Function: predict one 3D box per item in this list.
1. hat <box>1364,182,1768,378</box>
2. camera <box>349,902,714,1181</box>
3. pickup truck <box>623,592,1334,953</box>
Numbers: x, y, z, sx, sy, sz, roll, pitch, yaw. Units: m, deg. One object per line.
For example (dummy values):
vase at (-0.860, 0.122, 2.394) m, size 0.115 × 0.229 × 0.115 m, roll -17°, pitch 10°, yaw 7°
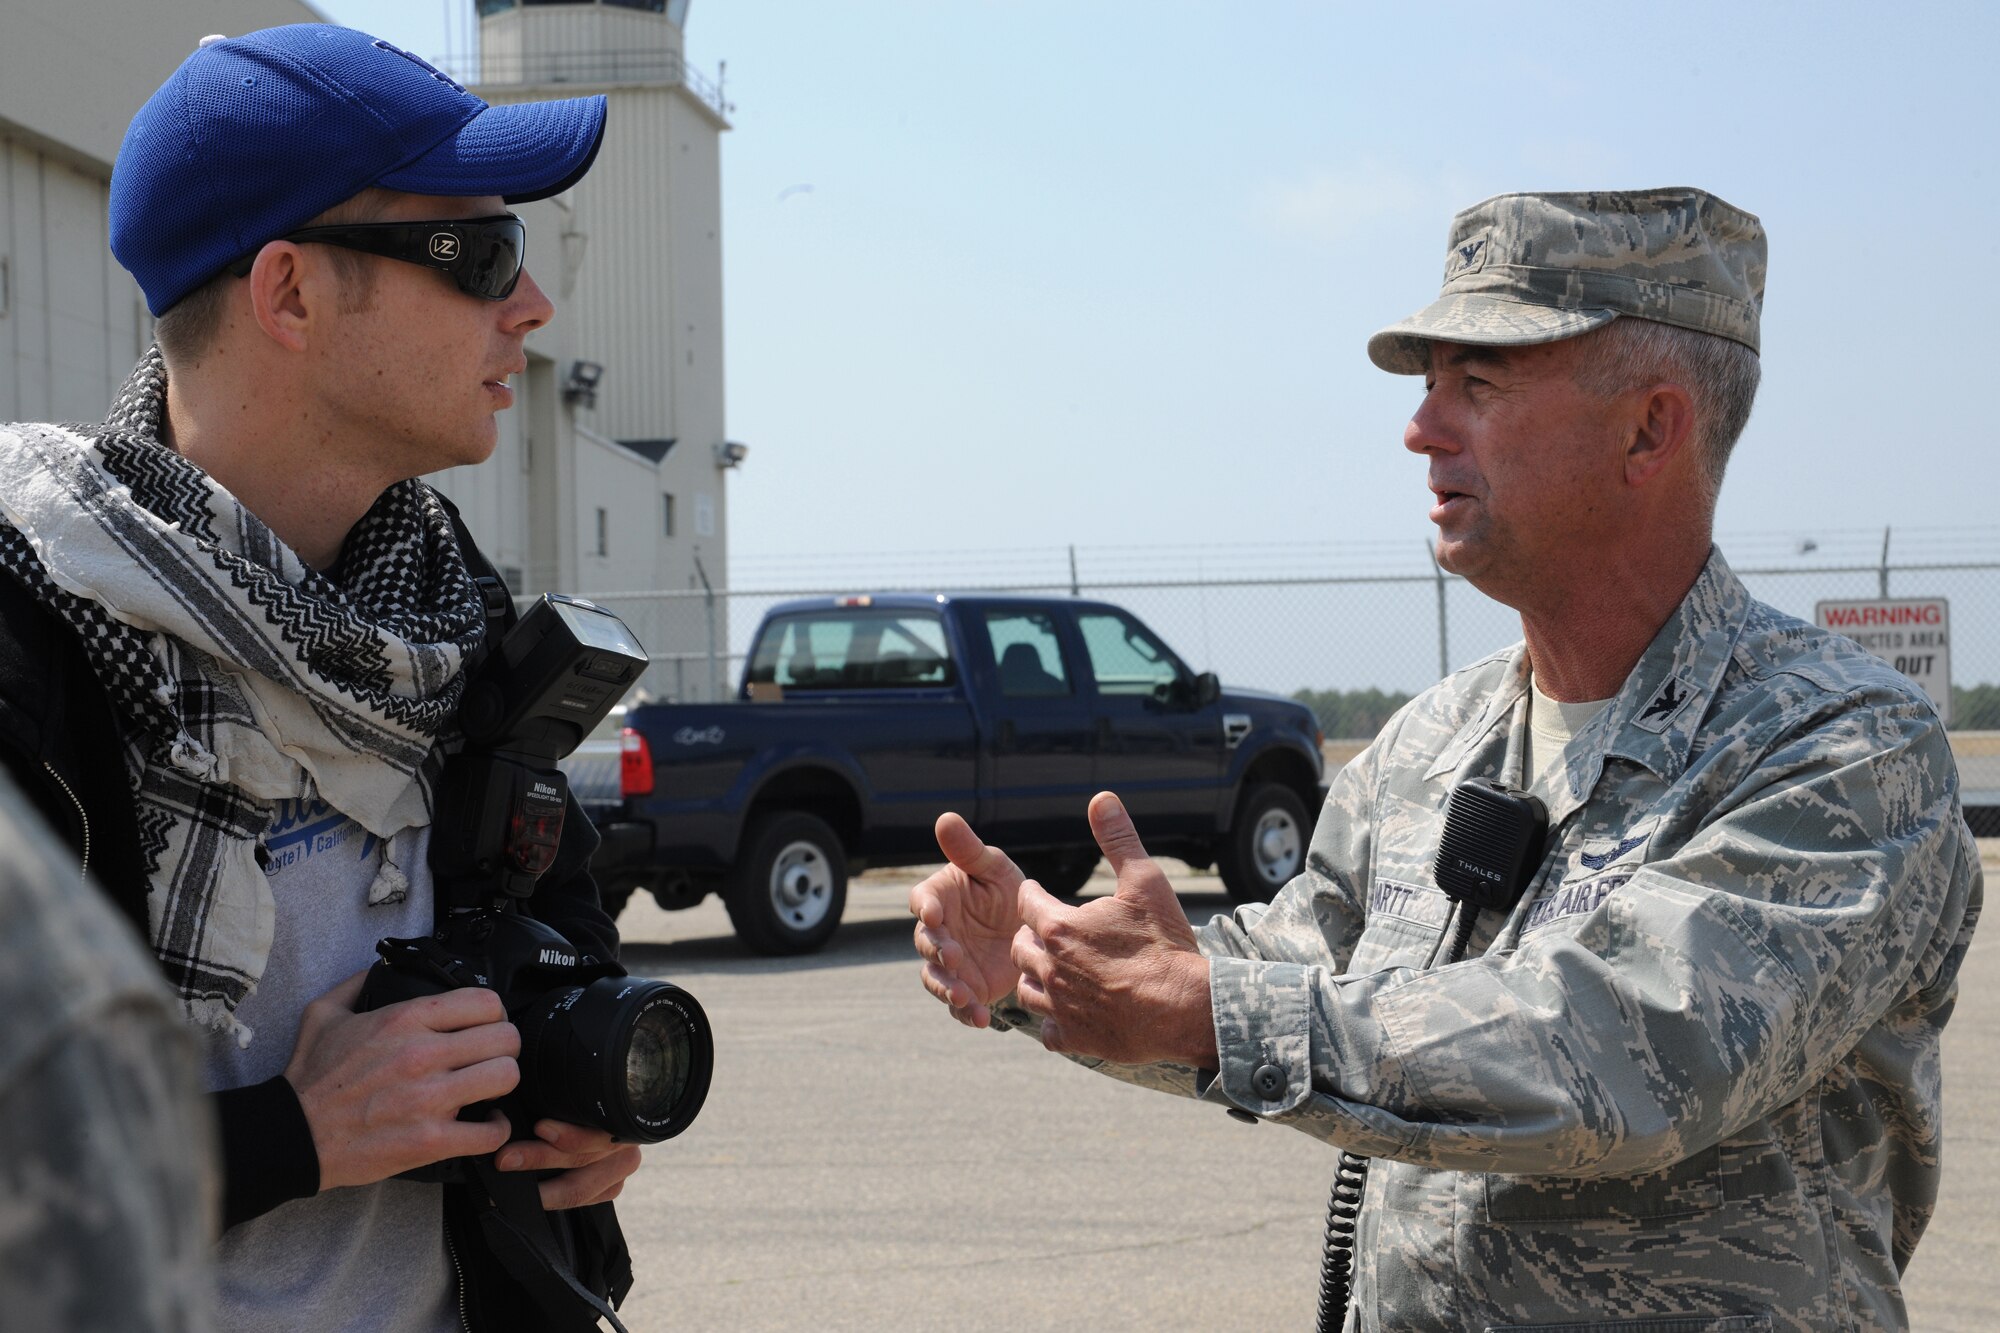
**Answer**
hat at (1.065, -0.669, 5.081) m, size 0.681 × 0.325 × 0.621 m, roll -4°, pitch 5°, yaw -8°
camera at (-0.782, 0.610, 4.951) m, size 0.507 × 0.351 × 0.493 m, roll 7°, pitch 4°, yaw 1°
pickup truck at (-0.206, 0.450, 13.349) m, size 3.421 × 1.465 × 1.560 m, roll -7°, pitch 5°, yaw -45°
